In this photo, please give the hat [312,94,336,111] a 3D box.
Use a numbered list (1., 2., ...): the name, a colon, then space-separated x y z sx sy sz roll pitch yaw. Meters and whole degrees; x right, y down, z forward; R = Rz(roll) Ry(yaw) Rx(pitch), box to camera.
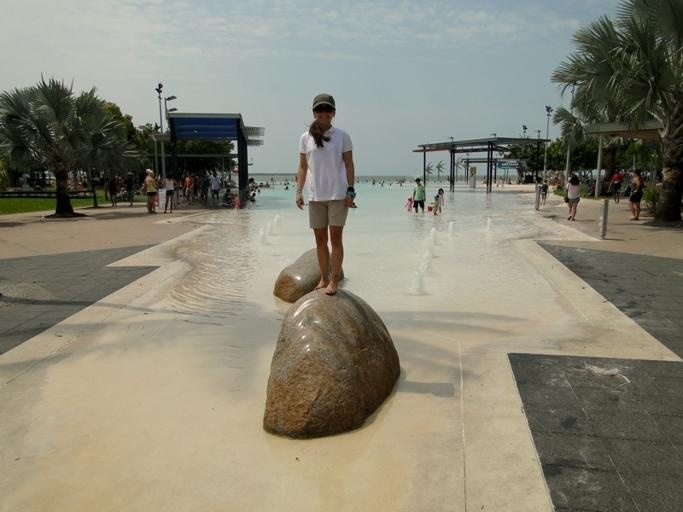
1. hat: -0.192 -1.686 5.208 0.228 0.161 0.248 -3 10 -5
